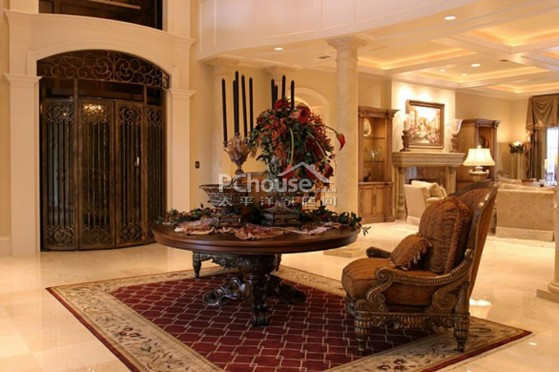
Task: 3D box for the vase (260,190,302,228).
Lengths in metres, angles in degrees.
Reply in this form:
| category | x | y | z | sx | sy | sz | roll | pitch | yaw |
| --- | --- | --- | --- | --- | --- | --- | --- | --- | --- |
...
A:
| category | x | y | z | sx | sy | sz | roll | pitch | yaw |
| --- | --- | --- | --- | --- | --- | --- | --- | --- | --- |
| vase | 0.006 | 0.208 | 4.056 | 0.408 | 0.431 | 0.390 | -1 | 2 | -10 |

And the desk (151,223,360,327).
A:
| category | x | y | z | sx | sy | sz | roll | pitch | yaw |
| --- | --- | --- | --- | --- | --- | --- | --- | --- | --- |
| desk | -0.271 | 0.708 | 3.759 | 1.476 | 0.510 | 1.374 | 0 | -2 | -14 |

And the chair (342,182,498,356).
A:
| category | x | y | z | sx | sy | sz | roll | pitch | yaw |
| --- | --- | --- | --- | --- | --- | --- | --- | --- | --- |
| chair | 1.329 | 0.677 | 4.039 | 1.557 | 1.385 | 1.112 | -1 | 6 | 0 |

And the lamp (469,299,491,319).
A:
| category | x | y | z | sx | sy | sz | roll | pitch | yaw |
| --- | --- | --- | --- | --- | --- | --- | --- | --- | --- |
| lamp | 2.309 | 1.398 | 4.558 | 0.201 | 0.120 | 0.177 | 2 | 3 | 2 |

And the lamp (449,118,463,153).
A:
| category | x | y | z | sx | sy | sz | roll | pitch | yaw |
| --- | --- | --- | --- | --- | --- | --- | --- | --- | --- |
| lamp | 5.276 | -1.529 | 11.891 | 0.284 | 0.960 | 0.485 | 3 | 9 | 23 |

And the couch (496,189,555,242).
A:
| category | x | y | z | sx | sy | sz | roll | pitch | yaw |
| --- | --- | --- | --- | --- | --- | --- | --- | --- | --- |
| couch | 5.019 | 0.576 | 8.048 | 1.118 | 0.963 | 1.041 | 0 | 1 | 27 |

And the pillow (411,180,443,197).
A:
| category | x | y | z | sx | sy | sz | roll | pitch | yaw |
| --- | --- | --- | --- | --- | --- | --- | --- | --- | --- |
| pillow | 3.433 | 0.091 | 8.997 | 0.493 | 0.198 | 0.444 | -1 | 30 | -16 |

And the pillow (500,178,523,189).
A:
| category | x | y | z | sx | sy | sz | roll | pitch | yaw |
| --- | --- | --- | --- | --- | --- | --- | --- | --- | --- |
| pillow | 5.160 | -0.061 | 8.847 | 0.278 | 0.074 | 0.282 | 13 | 17 | 38 |

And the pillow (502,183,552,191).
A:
| category | x | y | z | sx | sy | sz | roll | pitch | yaw |
| --- | --- | --- | --- | --- | --- | --- | --- | --- | --- |
| pillow | 5.107 | 0.028 | 8.251 | 0.436 | 0.114 | 0.406 | 0 | 2 | -19 |

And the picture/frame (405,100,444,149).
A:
| category | x | y | z | sx | sy | sz | roll | pitch | yaw |
| --- | --- | --- | --- | --- | --- | --- | --- | --- | --- |
| picture/frame | 4.082 | -1.765 | 11.279 | 1.688 | 1.366 | 0.128 | 2 | -5 | -34 |

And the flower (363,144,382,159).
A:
| category | x | y | z | sx | sy | sz | roll | pitch | yaw |
| --- | --- | --- | --- | --- | --- | --- | --- | --- | --- |
| flower | 2.518 | -0.917 | 10.695 | 0.403 | 0.244 | 0.360 | 0 | 0 | 20 |

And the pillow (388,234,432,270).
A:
| category | x | y | z | sx | sy | sz | roll | pitch | yaw |
| --- | --- | --- | --- | --- | --- | --- | --- | --- | --- |
| pillow | 1.258 | 0.642 | 3.902 | 0.114 | 0.467 | 0.457 | 30 | 43 | -1 |

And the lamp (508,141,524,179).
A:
| category | x | y | z | sx | sy | sz | roll | pitch | yaw |
| --- | --- | --- | --- | --- | --- | --- | --- | --- | --- |
| lamp | 8.254 | -0.918 | 13.878 | 0.437 | 1.285 | 0.425 | -5 | 10 | -30 |

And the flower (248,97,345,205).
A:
| category | x | y | z | sx | sy | sz | roll | pitch | yaw |
| --- | --- | --- | --- | --- | --- | --- | --- | --- | --- |
| flower | 0.159 | -0.351 | 4.166 | 1.191 | 1.023 | 0.967 | -3 | 4 | 1 |

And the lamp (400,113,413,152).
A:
| category | x | y | z | sx | sy | sz | roll | pitch | yaw |
| --- | --- | --- | --- | --- | --- | --- | --- | --- | --- |
| lamp | 3.504 | -1.471 | 10.922 | 0.255 | 0.999 | 0.434 | 3 | 9 | 20 |
